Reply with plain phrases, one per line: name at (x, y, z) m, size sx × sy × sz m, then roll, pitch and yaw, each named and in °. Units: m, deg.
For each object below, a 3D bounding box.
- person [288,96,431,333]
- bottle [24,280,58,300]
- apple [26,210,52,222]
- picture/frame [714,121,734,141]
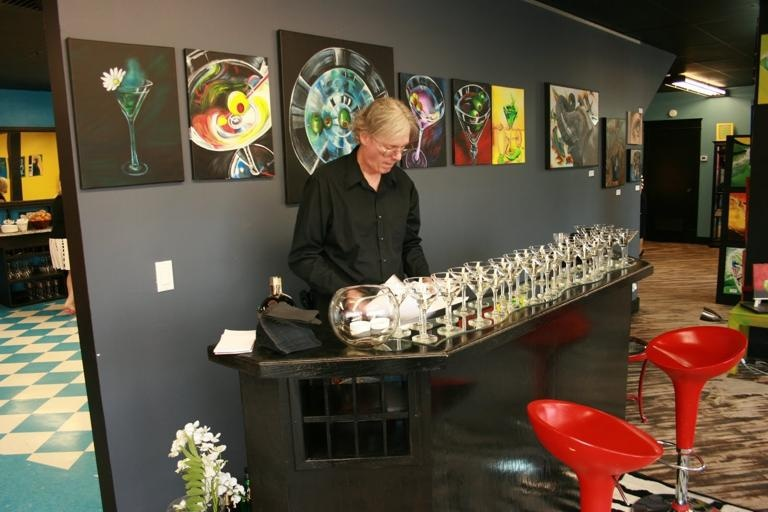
person at (-0.154, -0.368, 3.542) m, size 0.925 × 1.190 × 0.487 m, roll -3°, pitch 5°, yaw -12°
bottle at (-5.618, 0.552, 9.127) m, size 0.372 × 0.355 × 0.314 m, roll 0°, pitch 1°, yaw 22°
apple at (-5.699, -0.652, 9.208) m, size 0.293 × 0.150 × 0.293 m, roll 0°, pitch 0°, yaw 0°
picture/frame at (7.563, -2.782, 12.302) m, size 0.359 × 0.423 × 0.204 m, roll 0°, pitch 5°, yaw 29°
